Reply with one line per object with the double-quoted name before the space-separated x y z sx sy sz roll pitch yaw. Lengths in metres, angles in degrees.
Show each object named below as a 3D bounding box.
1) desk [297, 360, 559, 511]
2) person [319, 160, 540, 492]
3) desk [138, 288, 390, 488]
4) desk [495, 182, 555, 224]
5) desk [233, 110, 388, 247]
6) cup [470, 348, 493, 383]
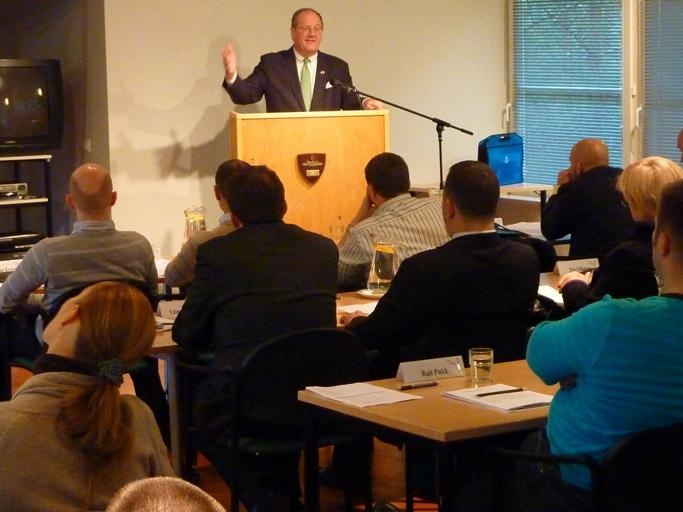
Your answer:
"desk" 0.315 0.476 1.981 0.631 0.510 0.496 -8 10 -42
"person" 0.139 0.106 2.438 0.624 1.423 0.811 -5 16 -24
"desk" -0.352 0.624 2.988 0.859 0.888 1.111 -2 4 -27
"desk" 1.678 -0.471 5.815 0.479 0.510 0.488 -2 5 -31
"desk" -0.199 -0.479 3.785 0.800 0.859 0.317 -3 7 -26
"cup" 0.476 0.374 2.173 0.091 0.117 0.093 -1 5 0
